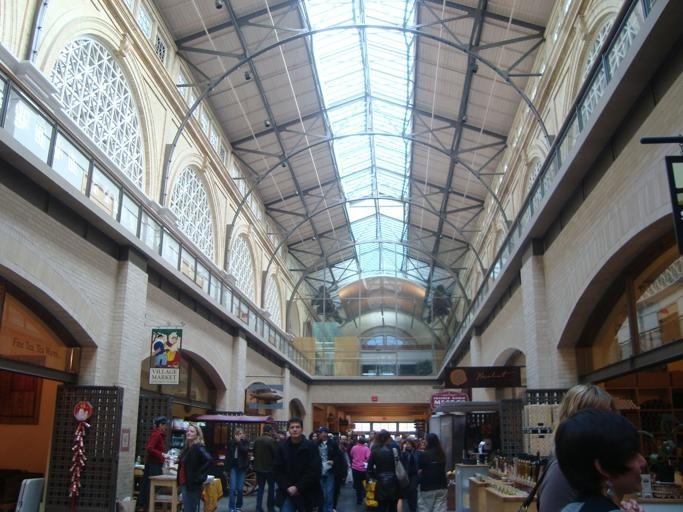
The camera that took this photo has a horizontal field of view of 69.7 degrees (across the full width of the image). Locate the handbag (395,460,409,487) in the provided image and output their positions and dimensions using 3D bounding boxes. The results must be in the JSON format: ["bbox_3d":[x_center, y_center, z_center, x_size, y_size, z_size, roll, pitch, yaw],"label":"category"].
[{"bbox_3d":[1.251,4.512,10.281,0.212,0.502,1.076,-4,-26,9],"label":"handbag"}]
